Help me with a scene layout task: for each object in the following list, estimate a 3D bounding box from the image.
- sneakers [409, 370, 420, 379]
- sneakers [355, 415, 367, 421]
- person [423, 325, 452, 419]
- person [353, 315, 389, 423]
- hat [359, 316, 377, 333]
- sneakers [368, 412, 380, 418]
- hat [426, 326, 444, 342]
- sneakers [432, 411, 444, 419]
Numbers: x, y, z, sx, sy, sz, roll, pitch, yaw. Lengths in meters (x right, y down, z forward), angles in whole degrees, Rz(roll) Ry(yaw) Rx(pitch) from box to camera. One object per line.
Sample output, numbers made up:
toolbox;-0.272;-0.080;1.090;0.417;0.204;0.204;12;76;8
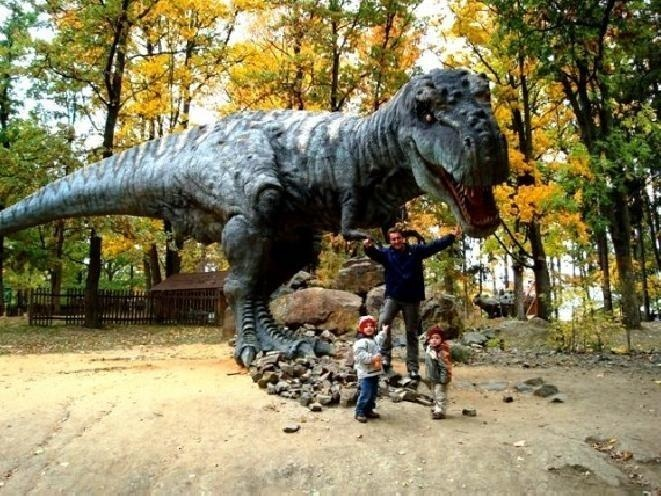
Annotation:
sneakers;1.095;1.650;7.248;0.088;0.123;0.125;7;-17;-40
sneakers;0.327;1.840;6.017;0.141;0.064;0.077;-2;-6;17
person;1.224;1.412;6.358;0.274;0.999;0.352;-2;-6;20
person;0.487;1.354;6.448;0.392;1.123;0.861;-1;-6;5
hat;0.415;0.875;6.379;0.203;0.186;0.154;11;-7;8
sneakers;0.482;1.823;6.107;0.121;0.057;0.055;-3;-1;-1
hat;1.220;0.984;6.456;0.143;0.119;0.171;1;-7;3
sneakers;1.193;1.853;6.173;0.131;0.055;0.060;8;-5;28
